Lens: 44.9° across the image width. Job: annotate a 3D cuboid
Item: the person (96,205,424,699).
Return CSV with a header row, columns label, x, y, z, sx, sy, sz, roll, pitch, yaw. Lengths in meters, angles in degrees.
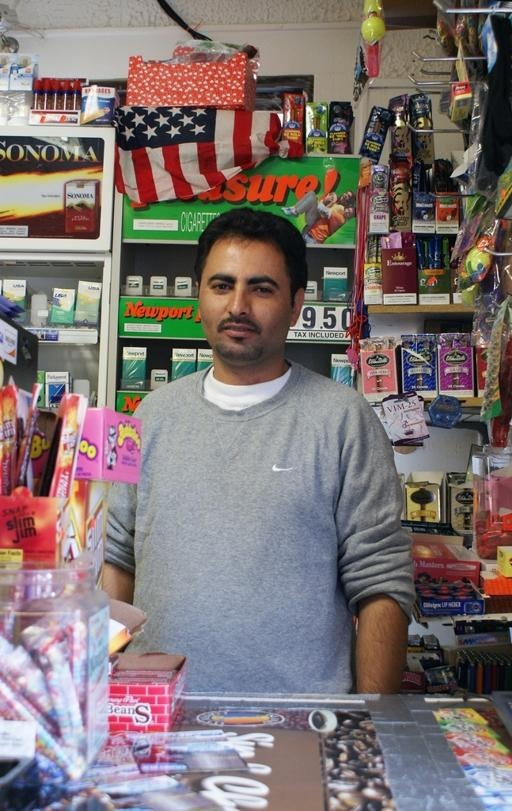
label,x,y,z,sx,sy,sz,roll,pitch,yaw
person,0.003,0.044,1.424,0.706,1.102,0.417,2,-8,33
